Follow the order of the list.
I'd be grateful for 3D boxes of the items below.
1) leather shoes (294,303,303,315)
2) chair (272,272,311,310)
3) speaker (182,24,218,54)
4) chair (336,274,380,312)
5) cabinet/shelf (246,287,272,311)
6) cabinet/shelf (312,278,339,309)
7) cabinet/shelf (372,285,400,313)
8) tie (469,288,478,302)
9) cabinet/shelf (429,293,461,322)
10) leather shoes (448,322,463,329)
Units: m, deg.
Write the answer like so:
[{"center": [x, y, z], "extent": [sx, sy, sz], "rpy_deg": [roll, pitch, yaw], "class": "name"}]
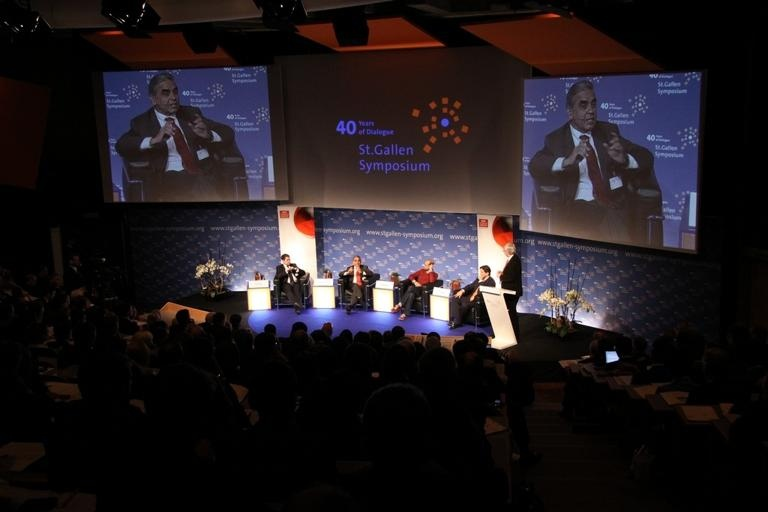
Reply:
[{"center": [-1.724, 1.067, 12.849], "extent": [0.102, 0.281, 0.123], "rpy_deg": [-3, 7, -14], "class": "leather shoes"}, {"center": [-2.003, 0.693, 13.389], "extent": [0.795, 0.675, 0.781], "rpy_deg": [0, 8, -2], "class": "chair"}, {"center": [-3.508, -4.143, 12.237], "extent": [0.477, 0.832, 0.493], "rpy_deg": [0, 6, 12], "class": "speaker"}, {"center": [-0.616, 0.736, 13.177], "extent": [0.852, 0.620, 0.839], "rpy_deg": [6, 12, 27], "class": "chair"}, {"center": [-2.574, 0.872, 13.044], "extent": [0.474, 0.440, 0.468], "rpy_deg": [-1, 2, -5], "class": "cabinet/shelf"}, {"center": [-1.192, 0.764, 13.154], "extent": [0.604, 0.787, 0.586], "rpy_deg": [-1, 5, -8], "class": "cabinet/shelf"}, {"center": [0.026, 0.854, 12.753], "extent": [0.505, 0.480, 0.488], "rpy_deg": [1, 3, 21], "class": "cabinet/shelf"}, {"center": [1.730, 0.701, 11.940], "extent": [0.055, 0.308, 0.099], "rpy_deg": [33, -25, -8], "class": "tie"}, {"center": [1.234, 0.981, 12.391], "extent": [0.515, 0.488, 0.498], "rpy_deg": [4, 4, 28], "class": "cabinet/shelf"}, {"center": [1.352, 1.299, 11.900], "extent": [0.309, 0.198, 0.101], "rpy_deg": [-3, 1, 6], "class": "leather shoes"}]
